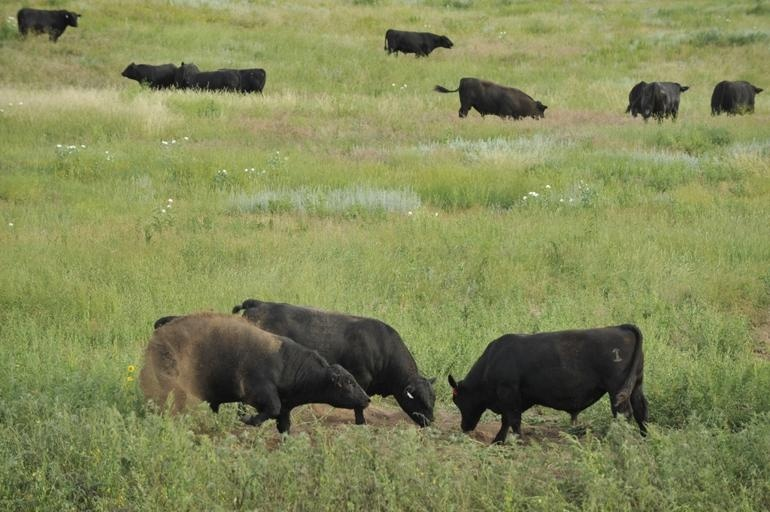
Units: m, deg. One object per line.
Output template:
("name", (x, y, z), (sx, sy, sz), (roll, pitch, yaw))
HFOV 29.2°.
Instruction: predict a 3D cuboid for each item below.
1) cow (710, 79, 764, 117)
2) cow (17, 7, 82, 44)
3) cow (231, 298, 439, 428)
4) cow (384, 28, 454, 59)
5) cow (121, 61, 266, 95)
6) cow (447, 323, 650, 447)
("cow", (12.693, -5.778, 53.510), (0.907, 1.120, 1.927), (10, 17, 39))
("cow", (-12.614, -8.876, 56.803), (2.966, 1.834, 0.983), (1, 4, -14))
("cow", (-0.819, 2.327, 36.698), (6.978, 4.175, 3.398), (-1, -3, 6))
("cow", (1.289, -8.735, 60.597), (2.785, 1.080, 0.920), (-3, 9, -14))
("cow", (-6.965, -6.597, 54.650), (5.118, 1.044, 1.398), (2, 9, 15))
("cow", (4.182, 3.050, 36.309), (4.472, 2.794, 0.796), (0, 8, 5))
